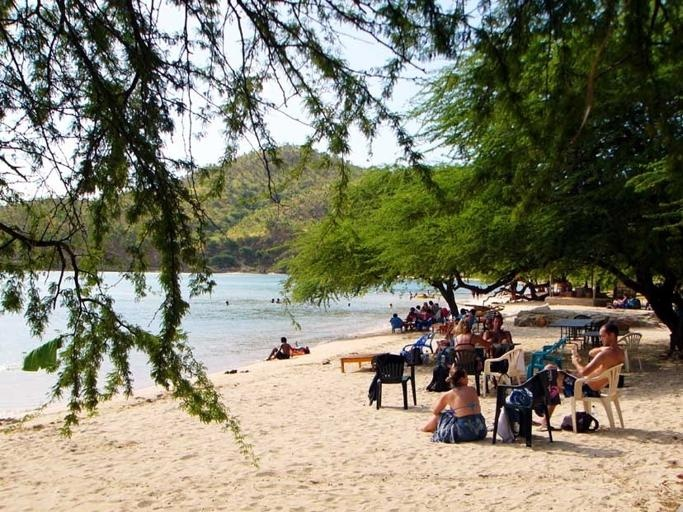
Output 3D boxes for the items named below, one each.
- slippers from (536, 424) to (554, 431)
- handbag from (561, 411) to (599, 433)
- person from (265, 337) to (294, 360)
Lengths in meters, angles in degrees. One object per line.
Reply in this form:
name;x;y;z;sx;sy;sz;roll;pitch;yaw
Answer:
slippers;2.895;2.497;9.308;0.134;0.081;0.231;1;-3;-1
handbag;3.441;2.410;9.337;0.275;0.207;0.407;-5;4;12
person;-2.186;3.296;22.588;1.154;0.996;0.604;-5;-8;37
